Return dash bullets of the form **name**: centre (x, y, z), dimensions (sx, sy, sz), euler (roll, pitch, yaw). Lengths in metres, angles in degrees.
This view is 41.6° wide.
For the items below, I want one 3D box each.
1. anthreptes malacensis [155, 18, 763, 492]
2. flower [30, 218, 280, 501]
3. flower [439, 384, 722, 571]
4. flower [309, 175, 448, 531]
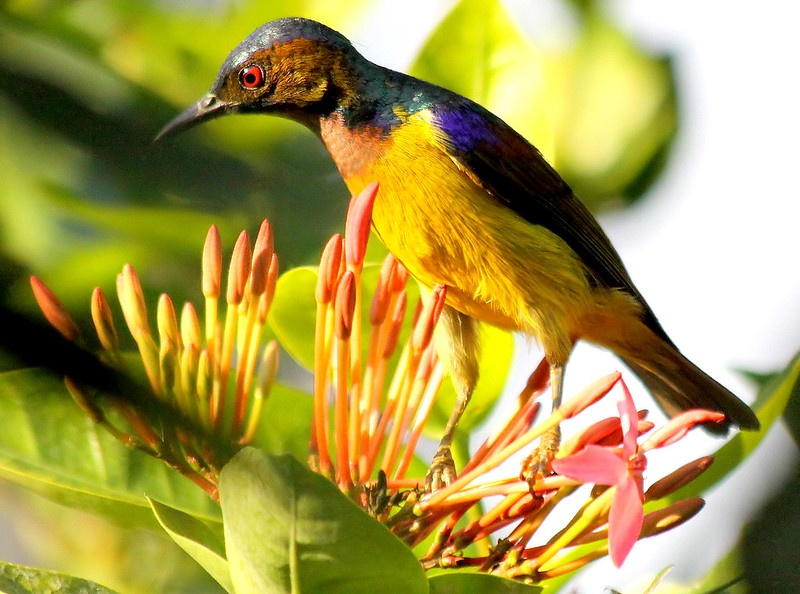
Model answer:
- **anthreptes malacensis**: centre (0.122, -0.067, 1.737), dimensions (0.998, 0.724, 0.292), euler (3, -16, -21)
- **flower**: centre (-0.338, 0.086, 1.403), dimensions (0.215, 0.381, 0.263), euler (-34, -2, -6)
- **flower**: centre (0.221, 0.210, 1.362), dimensions (0.335, 0.216, 0.198), euler (15, 18, 17)
- **flower**: centre (-0.027, 0.059, 1.538), dimensions (0.200, 0.476, 0.369), euler (8, 17, -3)
